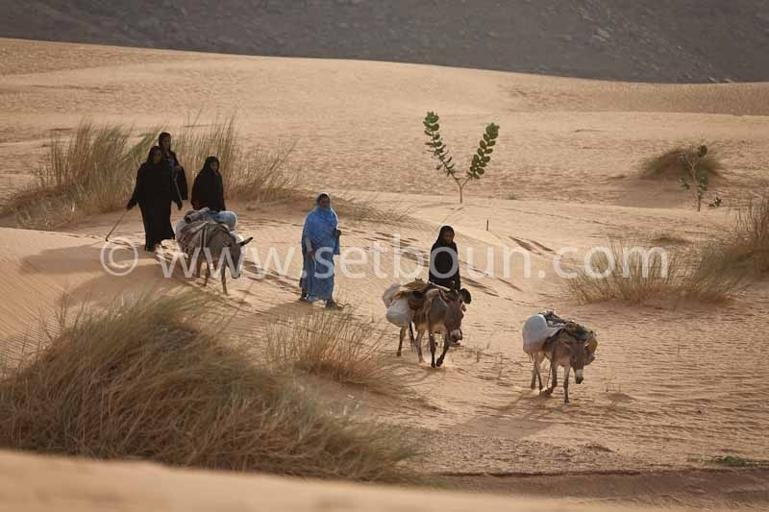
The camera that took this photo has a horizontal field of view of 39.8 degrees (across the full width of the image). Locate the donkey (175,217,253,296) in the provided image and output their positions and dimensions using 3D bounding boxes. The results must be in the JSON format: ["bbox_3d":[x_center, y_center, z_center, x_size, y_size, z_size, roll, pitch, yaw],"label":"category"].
[{"bbox_3d":[-3.697,-0.090,22.823,1.478,1.673,0.929,10,14,26],"label":"donkey"}]

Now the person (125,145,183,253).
[{"bbox_3d":[-5.051,-1.239,23.385,0.925,2.587,0.826,1,1,28],"label":"person"}]

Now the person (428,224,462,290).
[{"bbox_3d":[1.320,0.020,22.981,0.657,1.380,0.742,1,-2,1],"label":"person"}]

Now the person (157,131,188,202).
[{"bbox_3d":[-4.668,-1.865,23.440,0.671,1.668,0.482,-16,21,-33],"label":"person"}]

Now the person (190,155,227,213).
[{"bbox_3d":[-3.847,-1.596,23.263,0.720,1.149,0.592,1,13,-12],"label":"person"}]

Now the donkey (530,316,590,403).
[{"bbox_3d":[3.486,2.058,21.579,1.438,1.628,0.579,11,15,30],"label":"donkey"}]

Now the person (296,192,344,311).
[{"bbox_3d":[-1.368,-0.122,23.526,0.951,2.431,0.686,1,0,-6],"label":"person"}]

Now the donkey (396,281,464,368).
[{"bbox_3d":[0.946,1.360,22.547,1.081,1.722,2.910,2,3,-20],"label":"donkey"}]
